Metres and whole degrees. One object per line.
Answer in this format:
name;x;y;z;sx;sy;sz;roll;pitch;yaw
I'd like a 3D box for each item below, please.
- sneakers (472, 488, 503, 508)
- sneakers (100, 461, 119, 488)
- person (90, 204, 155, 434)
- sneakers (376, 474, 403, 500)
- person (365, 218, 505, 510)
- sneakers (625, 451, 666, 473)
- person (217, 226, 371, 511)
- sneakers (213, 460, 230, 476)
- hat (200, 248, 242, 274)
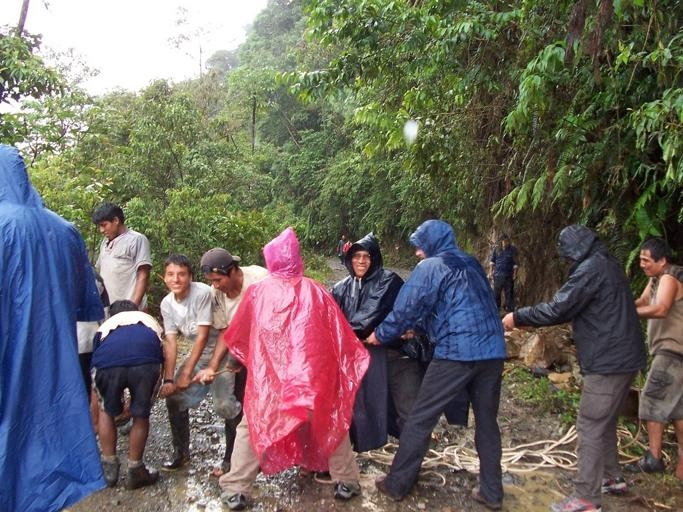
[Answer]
sneakers;1.357;2.281;5.393;0.281;0.142;0.152;-1;-4;22
sneakers;-2.147;2.026;5.385;0.092;0.325;0.197;-3;15;-4
person;-2.551;0.583;6.693;0.692;2.428;0.754;2;13;28
sneakers;0.463;2.199;5.497;0.130;0.133;0.280;-23;44;-36
person;0.974;0.998;5.487;1.111;2.690;0.407;0;-3;16
sneakers;3.126;2.149;6.047;0.416;0.297;0.177;-2;-15;20
person;-0.414;1.013;5.248;1.308;2.552;0.701;1;-3;-15
sneakers;-1.170;2.068;5.621;0.141;0.062;0.113;-19;18;45
hat;-1.139;0.062;5.469;0.185;0.170;0.309;5;22;30
